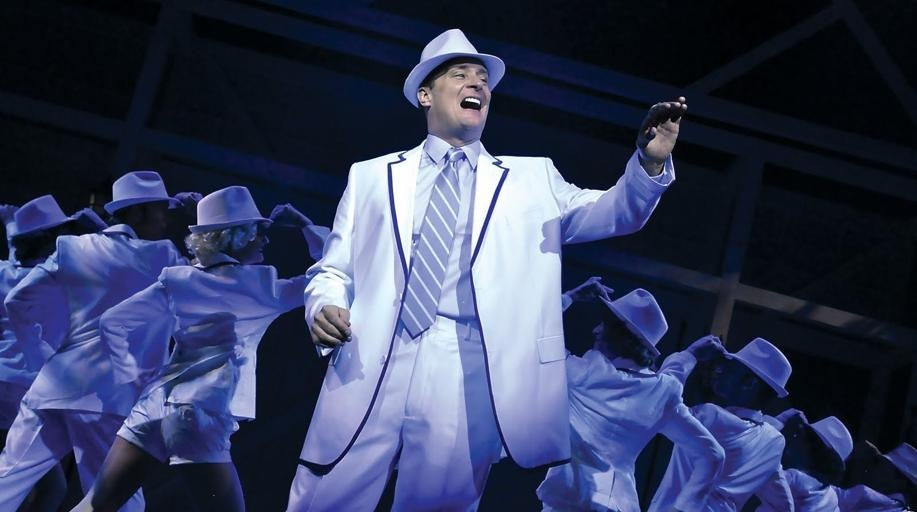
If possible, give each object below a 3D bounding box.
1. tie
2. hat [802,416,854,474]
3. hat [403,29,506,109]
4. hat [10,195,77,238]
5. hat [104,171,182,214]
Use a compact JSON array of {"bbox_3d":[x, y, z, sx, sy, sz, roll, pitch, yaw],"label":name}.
[{"bbox_3d":[-0.155,-0.139,8.193,0.260,1.447,0.168,14,-10,-5],"label":"tie"},{"bbox_3d":[3.403,1.680,10.369,0.455,0.170,0.381,48,6,-19],"label":"hat"},{"bbox_3d":[-0.022,-1.518,8.510,0.527,0.216,0.475,-14,-5,39],"label":"hat"},{"bbox_3d":[-3.528,-0.320,9.719,0.427,0.165,0.364,-17,17,23],"label":"hat"},{"bbox_3d":[-2.761,-0.585,9.869,0.672,0.259,0.554,-3,9,1],"label":"hat"}]
